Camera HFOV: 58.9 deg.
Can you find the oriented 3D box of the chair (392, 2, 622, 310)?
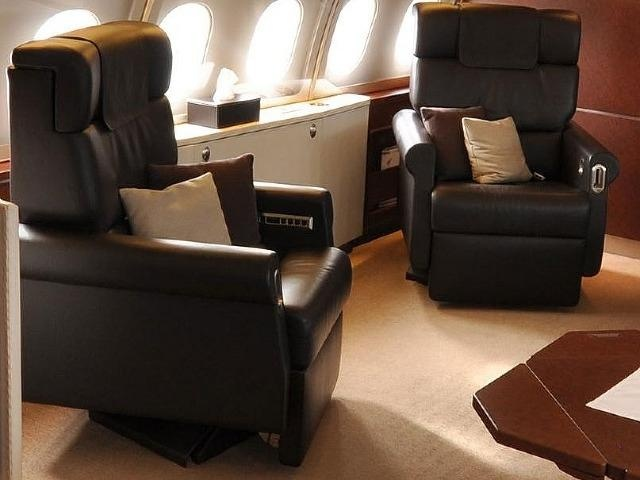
[{"bbox_3d":[1.055,-0.532,3.444,1.162,1.651,0.969,2,22,3],"label":"chair"}]

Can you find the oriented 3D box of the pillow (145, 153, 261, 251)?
[{"bbox_3d":[-0.480,-0.145,2.286,0.347,0.341,0.118,-15,8,-38],"label":"pillow"}]

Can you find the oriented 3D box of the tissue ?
[{"bbox_3d":[-0.492,-0.731,3.194,0.326,0.391,0.449,11,18,32],"label":"tissue "}]

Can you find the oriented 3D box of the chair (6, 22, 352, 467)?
[{"bbox_3d":[-0.553,-0.186,2.904,1.574,2.172,1.535,4,17,11],"label":"chair"}]
